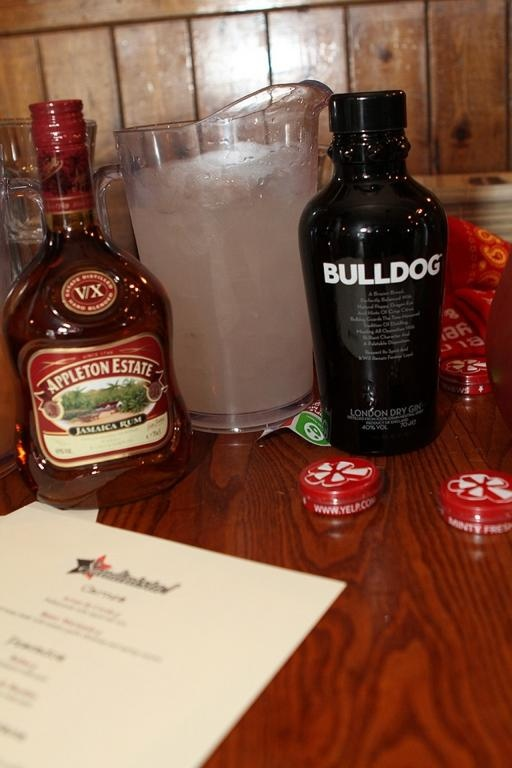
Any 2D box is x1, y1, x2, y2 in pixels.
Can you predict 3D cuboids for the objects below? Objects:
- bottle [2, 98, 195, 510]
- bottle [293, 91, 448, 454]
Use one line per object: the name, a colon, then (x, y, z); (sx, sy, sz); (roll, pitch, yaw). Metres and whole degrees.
bottle: (-0.111, -0.043, 0.402); (0.105, 0.257, 0.053); (-5, 13, -4)
bottle: (0.082, -0.066, 0.424); (0.100, 0.244, 0.077); (-3, 13, 8)
